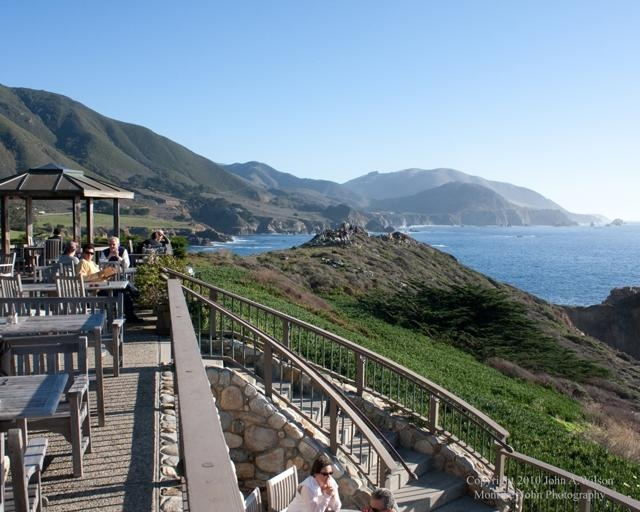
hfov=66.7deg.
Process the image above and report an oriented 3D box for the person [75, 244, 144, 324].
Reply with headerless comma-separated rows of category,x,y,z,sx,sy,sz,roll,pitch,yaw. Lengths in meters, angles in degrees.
person,-3.957,0.529,9.085,1.115,1.537,1.611,2,8,-9
